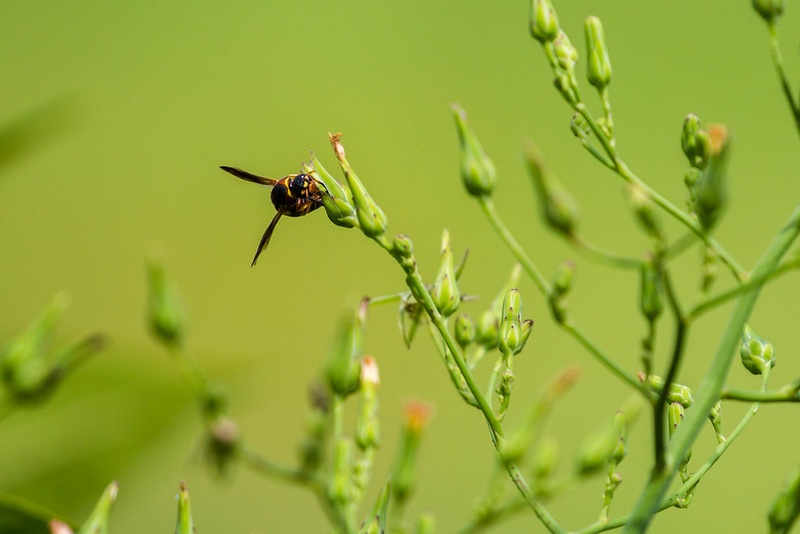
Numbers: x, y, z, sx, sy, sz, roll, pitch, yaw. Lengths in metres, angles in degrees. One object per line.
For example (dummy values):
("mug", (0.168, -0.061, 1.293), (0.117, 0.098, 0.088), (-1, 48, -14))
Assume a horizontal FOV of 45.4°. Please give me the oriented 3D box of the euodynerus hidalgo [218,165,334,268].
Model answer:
("euodynerus hidalgo", (-0.158, -0.084, 1.216), (0.121, 0.046, 0.140), (44, -18, -26))
